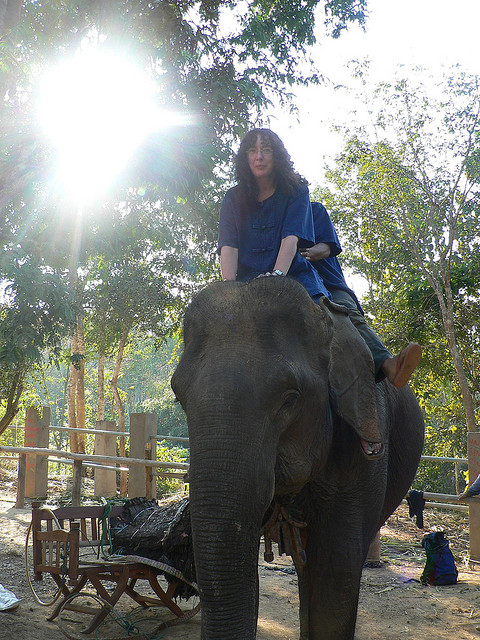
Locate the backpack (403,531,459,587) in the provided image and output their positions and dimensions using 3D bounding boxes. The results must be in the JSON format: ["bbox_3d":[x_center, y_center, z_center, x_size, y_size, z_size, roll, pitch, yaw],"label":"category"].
[{"bbox_3d":[1.719,2.147,5.842,0.343,0.462,0.424,6,-12,-34],"label":"backpack"}]

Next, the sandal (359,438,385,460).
[{"bbox_3d":[0.459,0.455,2.265,0.083,0.075,0.151,-3,-16,10],"label":"sandal"}]

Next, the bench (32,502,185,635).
[{"bbox_3d":[-0.845,1.631,4.206,0.321,0.649,0.811,-11,-16,36],"label":"bench"}]

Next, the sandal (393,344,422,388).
[{"bbox_3d":[0.598,0.173,2.400,0.070,0.193,0.054,8,17,-32],"label":"sandal"}]

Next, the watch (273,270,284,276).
[{"bbox_3d":[0.132,-0.159,2.179,0.026,0.016,0.036,14,1,-22],"label":"watch"}]
